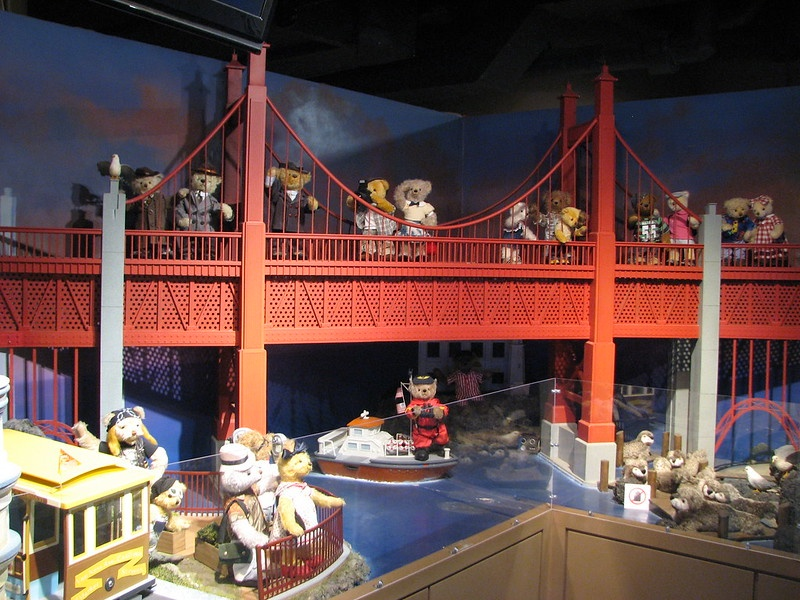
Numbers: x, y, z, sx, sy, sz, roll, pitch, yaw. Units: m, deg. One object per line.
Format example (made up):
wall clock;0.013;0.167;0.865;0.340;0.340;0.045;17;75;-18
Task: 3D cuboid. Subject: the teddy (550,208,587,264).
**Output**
teddy;2.049;-0.788;10.239;0.385;0.759;0.913;0;-2;15

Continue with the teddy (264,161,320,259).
teddy;-1.221;-1.017;9.491;0.584;1.216;1.183;1;-2;-12

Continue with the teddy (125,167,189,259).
teddy;-2.595;-0.883;8.907;0.808;1.228;0.510;-3;-26;-17

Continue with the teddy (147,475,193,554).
teddy;-1.774;1.654;6.374;0.348;0.561;0.383;-9;-12;26

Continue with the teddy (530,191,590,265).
teddy;1.992;-0.910;10.495;0.648;0.959;0.423;-2;-8;10

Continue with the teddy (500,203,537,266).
teddy;1.517;-0.877;10.493;0.477;0.746;0.458;-7;29;-3

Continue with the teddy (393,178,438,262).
teddy;0.179;-1.006;10.126;0.501;1.137;1.481;0;-2;-1

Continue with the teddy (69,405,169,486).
teddy;-2.257;1.316;6.787;0.675;0.945;0.351;-9;18;-24
